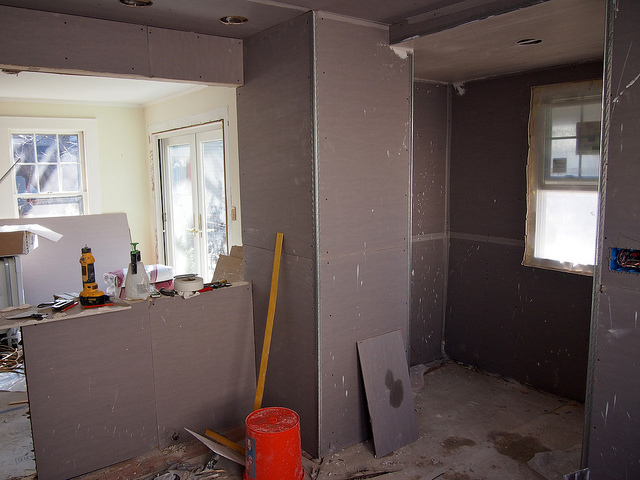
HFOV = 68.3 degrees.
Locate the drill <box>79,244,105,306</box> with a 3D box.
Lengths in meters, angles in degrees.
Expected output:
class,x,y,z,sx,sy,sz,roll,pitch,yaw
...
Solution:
class,x,y,z,sx,sy,sz,roll,pitch,yaw
drill,-1.562,0.236,3.214,0.148,0.379,0.241,-5,7,-27
